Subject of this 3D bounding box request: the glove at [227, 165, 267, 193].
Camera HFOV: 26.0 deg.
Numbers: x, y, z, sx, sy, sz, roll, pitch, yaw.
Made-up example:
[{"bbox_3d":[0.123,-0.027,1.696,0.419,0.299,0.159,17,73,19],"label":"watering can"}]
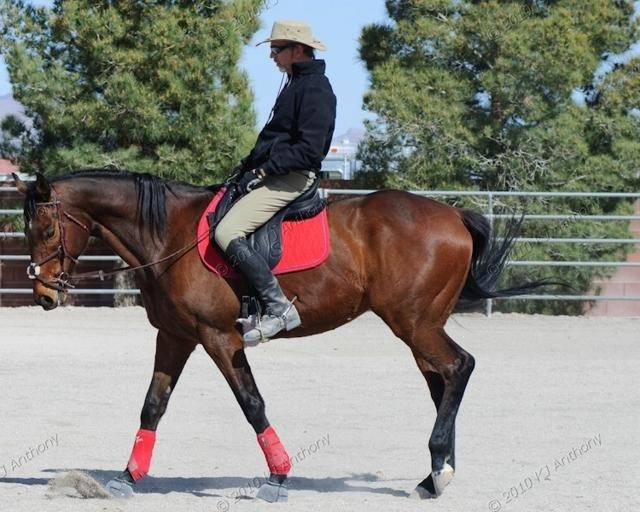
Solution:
[{"bbox_3d":[-0.895,-0.905,16.931,0.391,0.144,0.296,-19,10,-11],"label":"glove"}]
